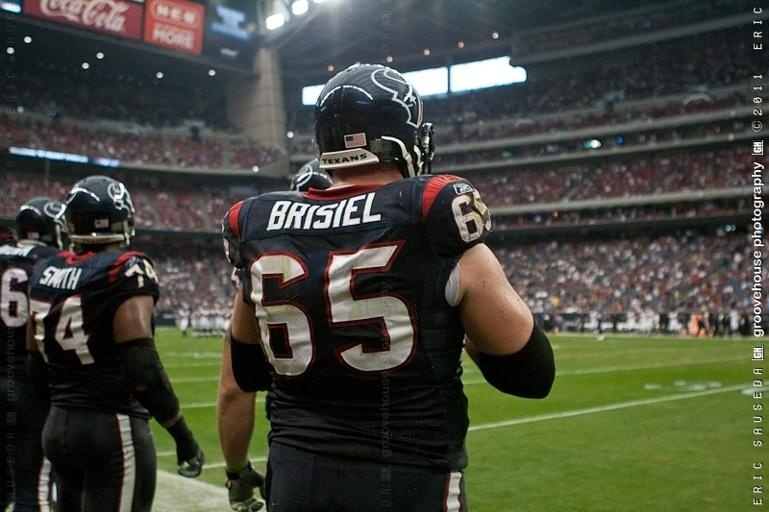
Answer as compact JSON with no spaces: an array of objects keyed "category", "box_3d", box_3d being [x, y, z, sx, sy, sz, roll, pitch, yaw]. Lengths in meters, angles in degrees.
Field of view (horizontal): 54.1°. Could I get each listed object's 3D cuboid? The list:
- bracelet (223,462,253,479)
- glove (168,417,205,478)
[{"category":"bracelet","box_3d":[-0.885,1.318,4.576,0.130,0.042,0.106,-11,-5,5]},{"category":"glove","box_3d":[-1.322,1.316,5.207,0.294,0.422,0.142,13,38,28]}]
